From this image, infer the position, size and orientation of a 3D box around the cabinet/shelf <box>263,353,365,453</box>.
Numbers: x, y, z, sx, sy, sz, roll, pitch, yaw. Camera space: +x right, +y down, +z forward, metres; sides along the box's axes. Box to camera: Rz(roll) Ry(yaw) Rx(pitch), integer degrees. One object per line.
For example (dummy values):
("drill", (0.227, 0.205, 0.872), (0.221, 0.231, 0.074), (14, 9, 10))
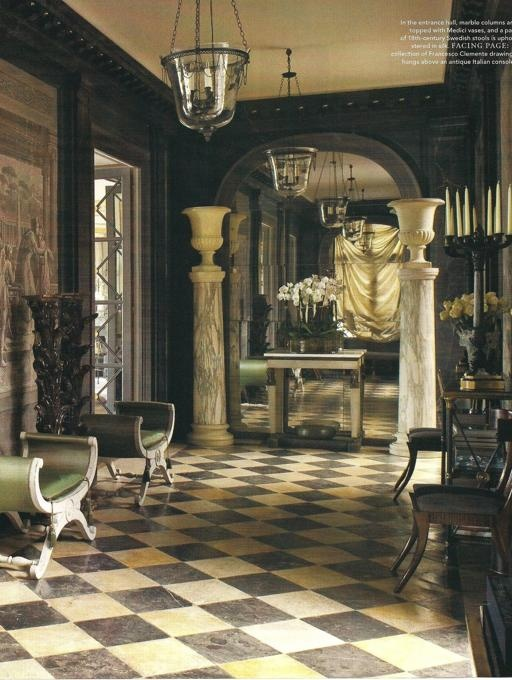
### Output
("cabinet/shelf", (0.695, 0.680, 8.216), (1.330, 1.072, 1.018), (1, 4, 16))

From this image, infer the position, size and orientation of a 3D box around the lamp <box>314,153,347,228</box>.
("lamp", (0.894, -1.793, 8.122), (0.378, 1.077, 0.343), (-2, -5, -4))

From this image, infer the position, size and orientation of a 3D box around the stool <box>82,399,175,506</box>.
("stool", (-1.049, 0.791, 5.634), (0.593, 0.553, 0.808), (-2, -5, 19))

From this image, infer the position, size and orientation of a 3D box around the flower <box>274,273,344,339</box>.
("flower", (0.576, -0.366, 8.187), (0.827, 0.693, 0.659), (-1, -4, -3))

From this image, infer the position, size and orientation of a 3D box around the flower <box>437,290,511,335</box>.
("flower", (1.548, -0.219, 5.138), (0.536, 0.331, 0.462), (-1, 0, 30))

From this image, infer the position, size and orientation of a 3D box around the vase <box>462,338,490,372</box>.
("vase", (1.426, 0.089, 4.526), (0.136, 0.242, 0.284), (1, 1, 17))
